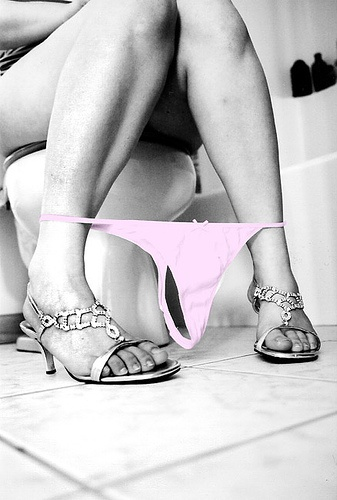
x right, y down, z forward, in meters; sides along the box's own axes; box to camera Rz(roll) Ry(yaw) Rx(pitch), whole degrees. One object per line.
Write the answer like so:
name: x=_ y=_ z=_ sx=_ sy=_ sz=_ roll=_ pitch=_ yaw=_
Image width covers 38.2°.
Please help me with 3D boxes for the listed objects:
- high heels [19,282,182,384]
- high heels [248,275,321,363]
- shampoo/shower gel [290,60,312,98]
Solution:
high heels: x=-0.091 y=0.101 z=0.568 sx=0.209 sy=0.091 sz=0.090 roll=-2 pitch=-6 yaw=30
high heels: x=0.147 y=0.098 z=0.653 sx=0.126 sy=0.081 sz=0.068 roll=-6 pitch=-8 yaw=35
shampoo/shower gel: x=0.280 y=-0.362 z=1.038 sx=0.023 sy=0.069 sz=0.053 roll=3 pitch=7 yaw=33
